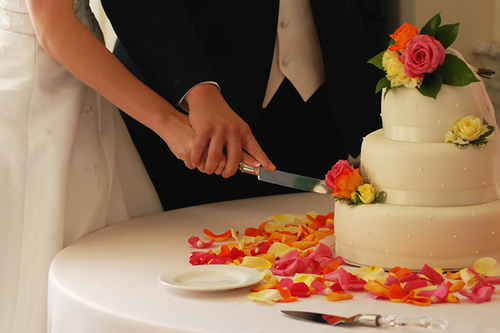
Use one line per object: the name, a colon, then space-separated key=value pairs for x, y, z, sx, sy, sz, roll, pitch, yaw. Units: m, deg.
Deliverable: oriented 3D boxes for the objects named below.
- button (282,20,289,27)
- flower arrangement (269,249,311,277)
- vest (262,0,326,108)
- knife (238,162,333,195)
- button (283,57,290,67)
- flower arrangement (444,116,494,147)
button: x=0.147 y=-0.592 z=1.790 sx=0.032 sy=0.026 sz=0.006 roll=-10 pitch=2 yaw=26
flower arrangement: x=0.121 y=0.282 z=1.273 sx=0.073 sy=0.034 sz=0.070 roll=-5 pitch=9 yaw=26
vest: x=0.213 y=-0.489 z=1.820 sx=0.197 sy=0.412 sz=0.081 roll=-10 pitch=2 yaw=-9
knife: x=0.148 y=0.041 z=1.790 sx=0.538 sy=0.081 sz=0.048 roll=11 pitch=7 yaw=0
button: x=0.152 y=-0.438 z=1.796 sx=0.026 sy=0.039 sz=0.009 roll=6 pitch=4 yaw=12
flower arrangement: x=0.630 y=-0.099 z=1.243 sx=0.141 sy=0.077 sz=0.053 roll=-11 pitch=2 yaw=-11
